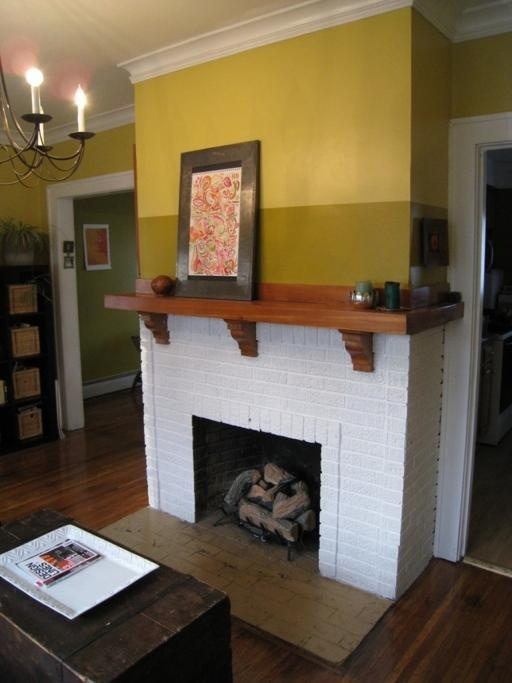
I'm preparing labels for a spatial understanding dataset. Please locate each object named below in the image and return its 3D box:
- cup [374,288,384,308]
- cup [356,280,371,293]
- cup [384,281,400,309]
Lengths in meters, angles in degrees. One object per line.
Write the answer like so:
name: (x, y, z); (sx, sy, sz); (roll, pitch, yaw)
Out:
cup: (0.486, -0.173, 2.169); (0.040, 0.076, 0.082); (0, 8, 14)
cup: (0.428, -0.217, 2.144); (0.047, 0.033, 0.047); (0, 16, 0)
cup: (0.524, -0.175, 2.108); (0.059, 0.108, 0.108); (0, 8, 14)
